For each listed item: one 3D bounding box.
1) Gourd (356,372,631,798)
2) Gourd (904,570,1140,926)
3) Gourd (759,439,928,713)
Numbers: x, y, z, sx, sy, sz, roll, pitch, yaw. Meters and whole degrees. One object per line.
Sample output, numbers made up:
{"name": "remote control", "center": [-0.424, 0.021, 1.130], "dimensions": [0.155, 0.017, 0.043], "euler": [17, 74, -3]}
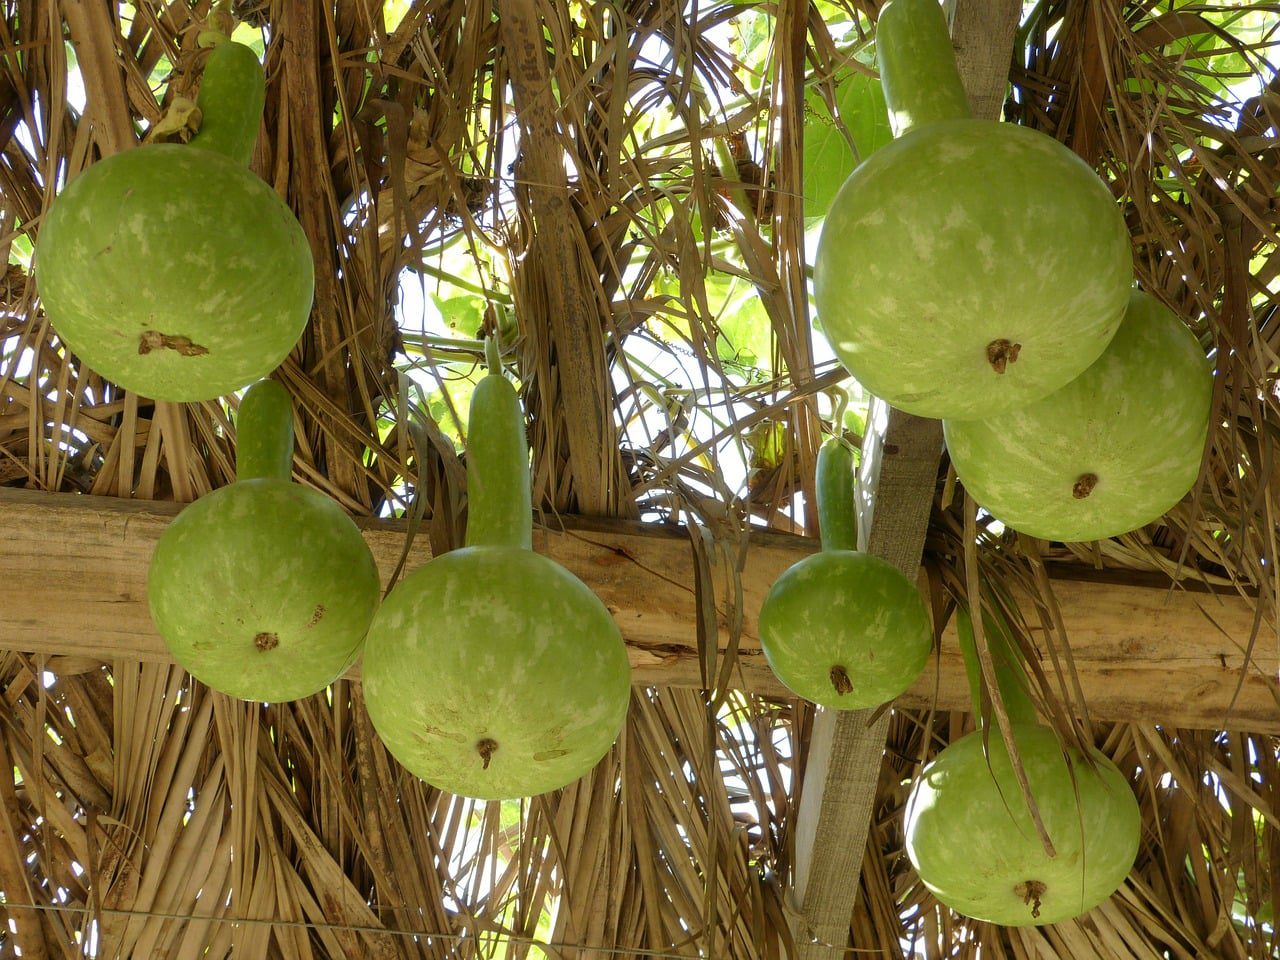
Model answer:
{"name": "Gourd", "center": [-0.280, 0.186, 2.910], "dimensions": [0.487, 1.155, 0.596], "euler": [6, -51, -8]}
{"name": "Gourd", "center": [0.719, 0.504, 3.065], "dimensions": [0.349, 0.719, 0.401], "euler": [4, -4, -29]}
{"name": "Gourd", "center": [0.416, 0.150, 3.083], "dimensions": [0.295, 0.613, 0.289], "euler": [-16, -24, 41]}
